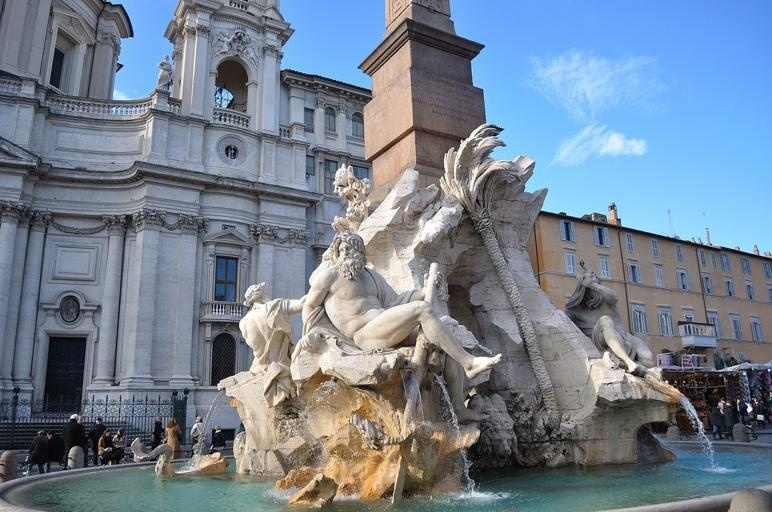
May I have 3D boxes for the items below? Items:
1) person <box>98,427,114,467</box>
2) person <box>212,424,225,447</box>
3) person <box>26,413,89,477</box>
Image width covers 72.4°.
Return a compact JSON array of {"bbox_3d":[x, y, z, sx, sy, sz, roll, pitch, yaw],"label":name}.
[{"bbox_3d":[-7.566,5.167,14.283,0.421,0.853,1.143,7,-20,-26],"label":"person"},{"bbox_3d":[-5.181,5.577,16.301,0.301,0.676,1.402,3,-18,-17],"label":"person"},{"bbox_3d":[-8.262,4.744,13.351,1.169,1.354,1.887,5,-19,-21],"label":"person"}]
